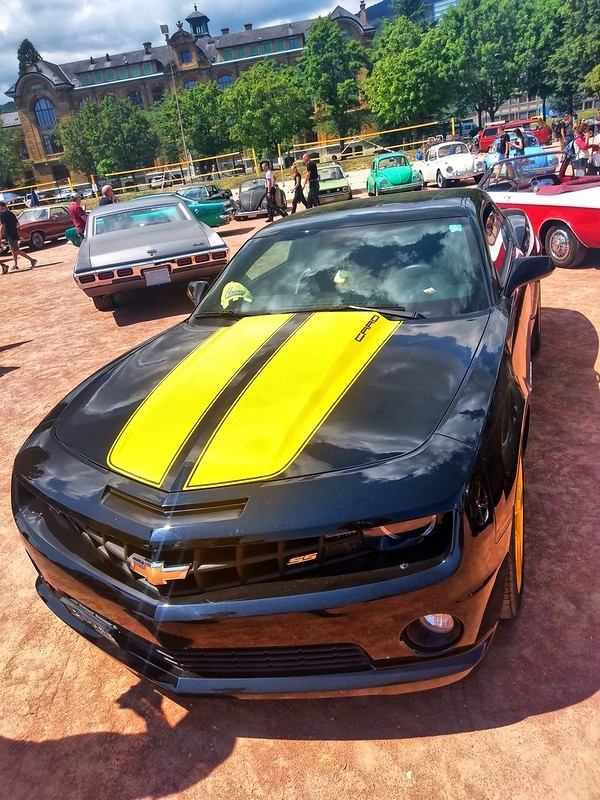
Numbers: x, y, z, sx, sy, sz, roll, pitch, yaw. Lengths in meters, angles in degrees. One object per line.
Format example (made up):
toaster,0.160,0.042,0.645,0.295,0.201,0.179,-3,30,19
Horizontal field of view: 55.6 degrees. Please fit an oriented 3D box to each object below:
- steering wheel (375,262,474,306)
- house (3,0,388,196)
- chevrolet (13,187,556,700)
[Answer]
steering wheel,0.582,-0.531,2.621,0.285,0.077,0.236,23,63,37
house,-19.441,-43.830,82.023,44.368,17.443,12.718,-8,25,3
chevrolet,0.365,-0.008,2.657,1.415,0.865,2.920,-1,29,22
